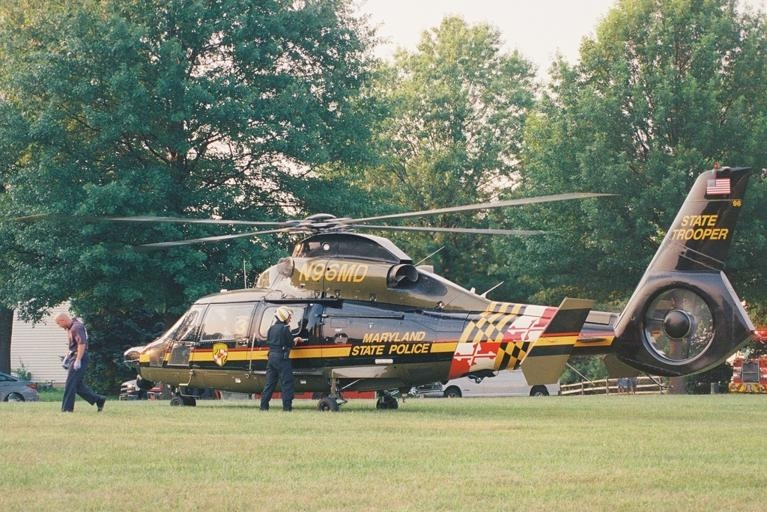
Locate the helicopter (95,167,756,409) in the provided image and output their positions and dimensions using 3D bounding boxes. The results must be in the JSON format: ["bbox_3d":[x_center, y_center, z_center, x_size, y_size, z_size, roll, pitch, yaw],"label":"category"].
[{"bbox_3d":[2.328,1.172,44.884,20.497,9.229,2.966,2,-10,12],"label":"helicopter"}]
